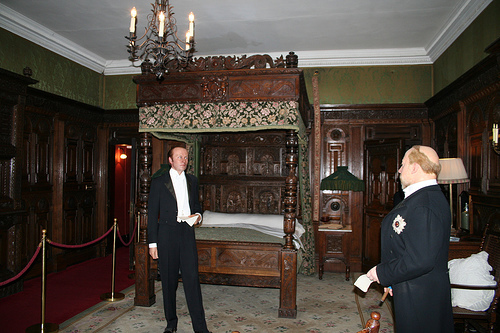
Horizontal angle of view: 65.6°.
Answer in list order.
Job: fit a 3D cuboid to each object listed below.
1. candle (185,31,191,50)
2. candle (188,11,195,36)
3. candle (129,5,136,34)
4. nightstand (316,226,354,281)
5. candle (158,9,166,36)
[{"bbox_3d":[-1.068,-2.159,6.774,0.110,0.364,0.385,-1,-3,-14],"label":"candle"},{"bbox_3d":[-1.003,-2.411,6.614,0.080,0.432,0.236,-1,-3,-14],"label":"candle"},{"bbox_3d":[-1.946,-2.382,6.473,0.104,0.385,0.343,-1,-3,-17],"label":"candle"},{"bbox_3d":[2.088,2.017,9.256,1.025,1.557,1.066,0,-1,18],"label":"nightstand"},{"bbox_3d":[-1.447,-2.291,6.365,0.097,0.457,0.219,-1,-3,-5],"label":"candle"}]
